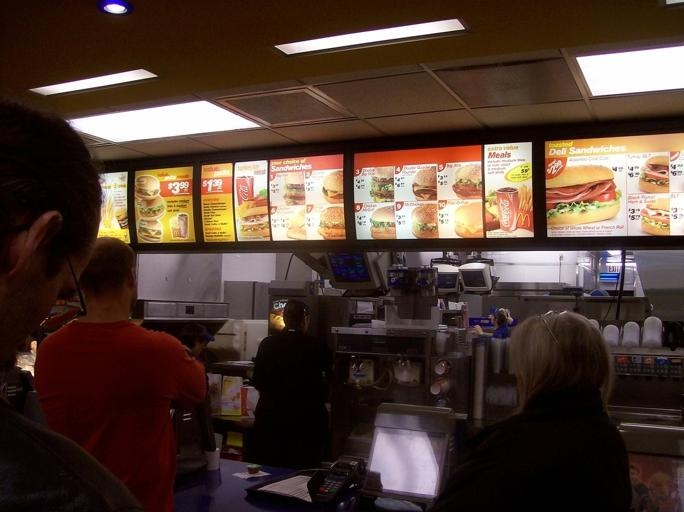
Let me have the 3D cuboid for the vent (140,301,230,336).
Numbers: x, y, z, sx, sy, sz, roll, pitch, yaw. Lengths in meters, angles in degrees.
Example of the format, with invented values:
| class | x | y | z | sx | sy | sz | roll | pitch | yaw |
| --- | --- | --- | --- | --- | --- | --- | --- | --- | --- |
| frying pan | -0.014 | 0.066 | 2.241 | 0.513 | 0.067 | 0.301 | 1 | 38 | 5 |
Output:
| class | x | y | z | sx | sy | sz | roll | pitch | yaw |
| --- | --- | --- | --- | --- | --- | --- | --- | --- | --- |
| vent | -1.536 | 0.521 | 5.052 | 0.859 | 0.164 | 0.731 | 4 | -3 | -27 |

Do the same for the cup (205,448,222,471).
| class | x | y | z | sx | sy | sz | roll | pitch | yaw |
| --- | --- | --- | --- | --- | --- | --- | --- | --- | --- |
| cup | -0.661 | 1.043 | 2.712 | 0.046 | 0.105 | 0.096 | -4 | -4 | 17 |

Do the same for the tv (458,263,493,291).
| class | x | y | z | sx | sy | sz | roll | pitch | yaw |
| --- | --- | --- | --- | --- | --- | --- | --- | --- | --- |
| tv | 1.612 | 0.262 | 6.417 | 0.277 | 0.339 | 0.243 | -1 | 37 | 36 |

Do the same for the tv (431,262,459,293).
| class | x | y | z | sx | sy | sz | roll | pitch | yaw |
| --- | --- | --- | --- | --- | --- | --- | --- | --- | --- |
| tv | 1.097 | 0.239 | 5.570 | 0.214 | 0.267 | 0.302 | 8 | -10 | -43 |

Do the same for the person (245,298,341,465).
| class | x | y | z | sx | sy | sz | roll | pitch | yaw |
| --- | --- | --- | --- | --- | --- | --- | --- | --- | --- |
| person | -0.408 | 0.987 | 4.128 | 0.593 | 1.268 | 0.259 | -2 | -4 | -9 |

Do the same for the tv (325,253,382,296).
| class | x | y | z | sx | sy | sz | roll | pitch | yaw |
| --- | --- | --- | --- | --- | --- | --- | --- | --- | --- |
| tv | 0.095 | 0.125 | 3.920 | 0.313 | 0.264 | 0.169 | -3 | 10 | 33 |
